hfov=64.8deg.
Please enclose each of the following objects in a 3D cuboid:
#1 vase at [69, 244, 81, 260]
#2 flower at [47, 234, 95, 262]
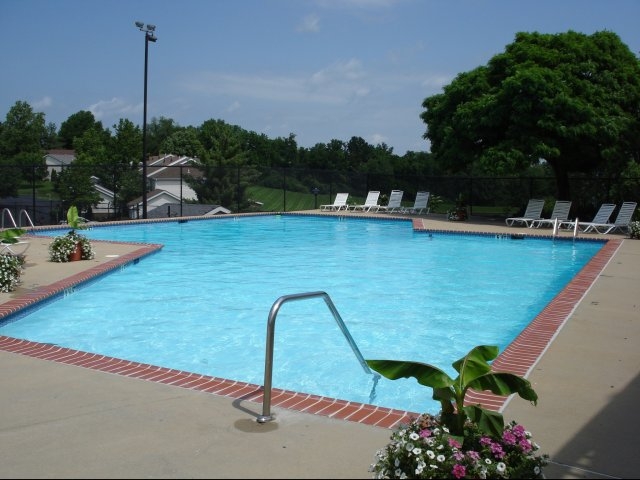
[{"bbox_3d":[-5.761,0.293,11.890,0.359,0.304,0.299,-2,9,-23],"label":"vase"},{"bbox_3d":[-5.841,0.175,11.834,0.786,0.490,0.776,4,8,33],"label":"flower"}]
